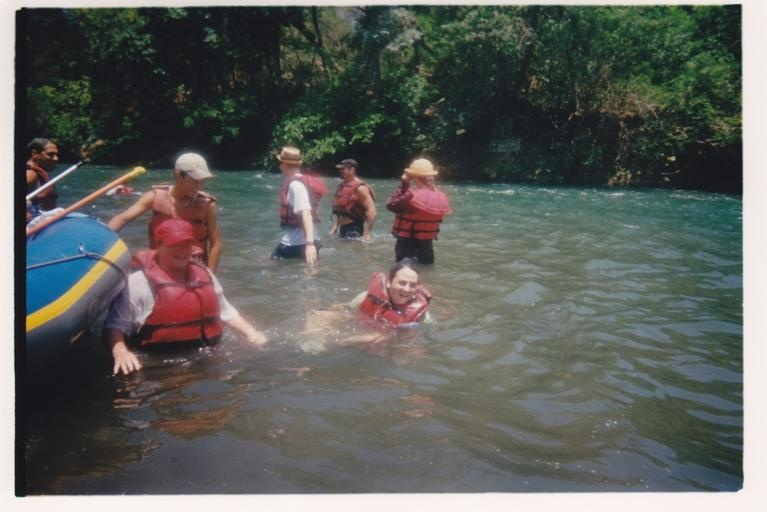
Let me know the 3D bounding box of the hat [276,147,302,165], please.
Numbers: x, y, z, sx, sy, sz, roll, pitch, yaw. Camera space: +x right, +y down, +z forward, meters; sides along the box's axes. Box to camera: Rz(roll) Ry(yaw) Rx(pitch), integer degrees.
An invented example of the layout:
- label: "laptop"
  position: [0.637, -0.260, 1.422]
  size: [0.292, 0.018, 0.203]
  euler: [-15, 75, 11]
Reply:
- label: "hat"
  position: [-1.763, -1.863, 11.320]
  size: [0.401, 0.325, 0.830]
  euler: [0, 10, -11]

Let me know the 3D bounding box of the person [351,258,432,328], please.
- label: "person"
  position: [0.182, 0.594, 8.846]
  size: [1.089, 0.479, 0.899]
  euler: [-21, 46, -41]

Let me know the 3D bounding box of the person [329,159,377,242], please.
- label: "person"
  position: [-0.632, -1.195, 13.010]
  size: [0.899, 1.696, 0.650]
  euler: [2, 12, 2]

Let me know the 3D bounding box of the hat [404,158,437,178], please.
- label: "hat"
  position: [0.538, -1.575, 10.812]
  size: [0.744, 0.291, 0.770]
  euler: [-4, 12, -33]

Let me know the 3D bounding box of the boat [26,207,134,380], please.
- label: "boat"
  position: [-3.790, 0.435, 7.249]
  size: [0.685, 1.721, 1.250]
  euler: [8, 13, 30]

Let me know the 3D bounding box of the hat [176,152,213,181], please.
- label: "hat"
  position: [-2.692, -1.254, 8.522]
  size: [0.537, 0.298, 0.364]
  euler: [19, 18, 19]
